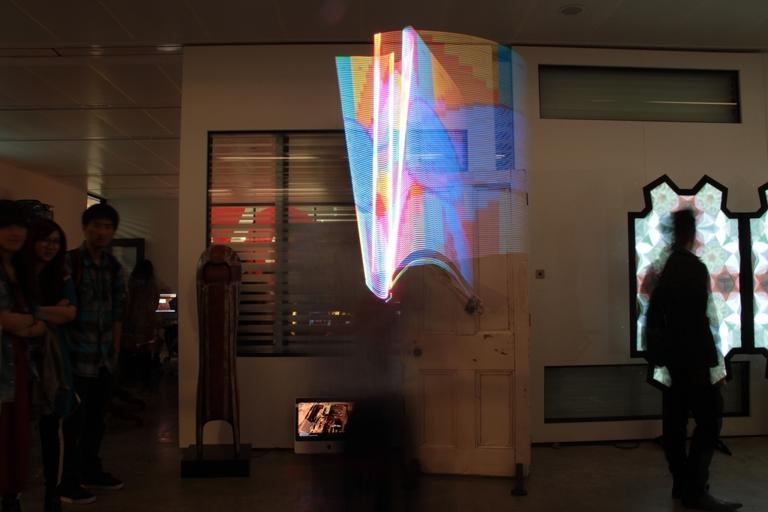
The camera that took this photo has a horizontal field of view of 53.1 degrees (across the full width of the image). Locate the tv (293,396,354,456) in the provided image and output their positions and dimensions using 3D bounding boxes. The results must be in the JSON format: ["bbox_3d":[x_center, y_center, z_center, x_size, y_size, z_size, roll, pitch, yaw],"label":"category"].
[{"bbox_3d":[-0.584,1.563,7.003,0.265,0.508,0.734,3,-5,-35],"label":"tv"}]

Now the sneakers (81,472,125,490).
[{"bbox_3d":[-2.438,1.970,6.701,0.374,0.144,0.131,2,-8,-8],"label":"sneakers"}]
